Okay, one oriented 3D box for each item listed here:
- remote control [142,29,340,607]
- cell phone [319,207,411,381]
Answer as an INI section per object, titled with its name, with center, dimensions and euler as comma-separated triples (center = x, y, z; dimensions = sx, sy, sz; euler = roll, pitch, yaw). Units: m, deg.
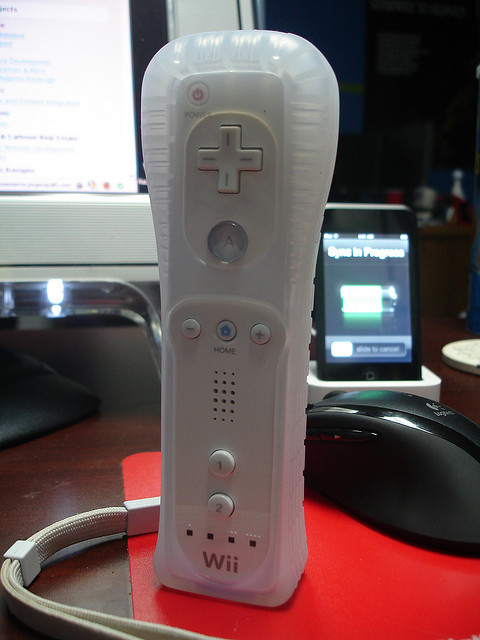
[remote control]
center = -0.005, 0.001, 0.266
dimensions = 0.088, 0.252, 0.039
euler = 3, 9, 15
[cell phone]
center = 0.107, -0.019, 0.492
dimensions = 0.089, 0.165, 0.017
euler = 1, 29, 16
